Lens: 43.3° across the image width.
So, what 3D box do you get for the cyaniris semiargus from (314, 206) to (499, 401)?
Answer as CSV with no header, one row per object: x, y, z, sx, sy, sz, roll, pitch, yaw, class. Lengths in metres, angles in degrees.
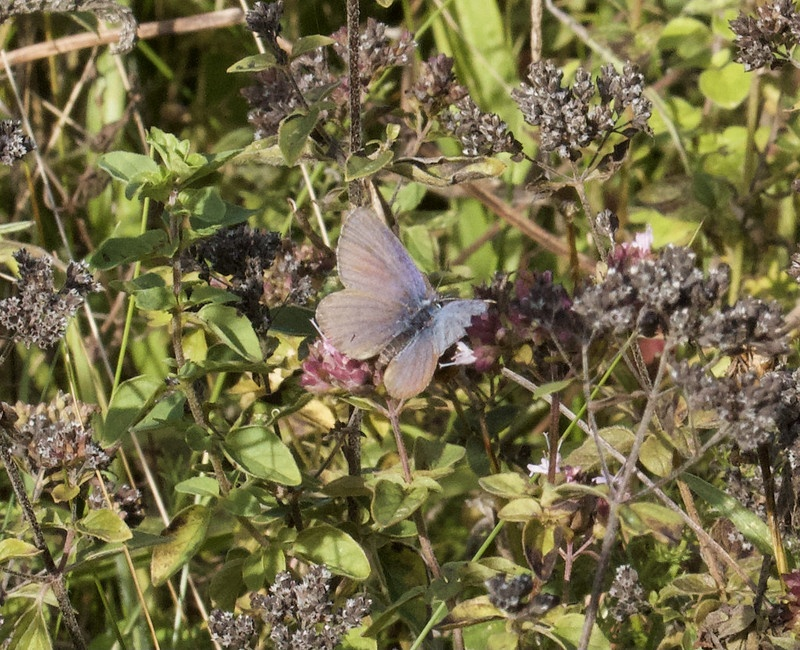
-0.032,-0.047,2.876,0.481,0.248,0.374,39,65,12,cyaniris semiargus
